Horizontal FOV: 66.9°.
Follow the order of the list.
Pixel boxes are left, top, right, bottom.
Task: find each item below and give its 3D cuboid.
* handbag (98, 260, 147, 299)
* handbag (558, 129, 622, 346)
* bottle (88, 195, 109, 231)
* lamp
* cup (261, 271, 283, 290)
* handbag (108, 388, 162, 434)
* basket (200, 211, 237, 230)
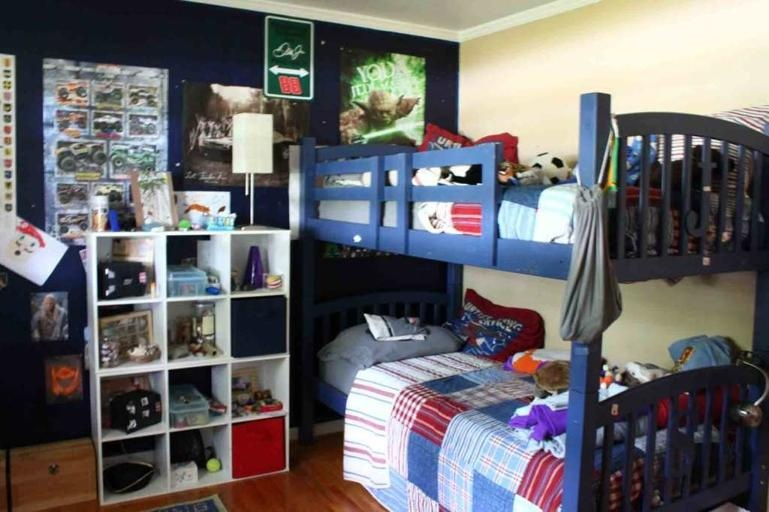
[{"bbox_3d":[-1.772,0.145,3.843,0.202,0.224,0.327,10,7,26],"label":"handbag"},{"bbox_3d":[0.924,-0.078,2.609,0.266,0.942,0.201,-1,10,6],"label":"handbag"},{"bbox_3d":[-1.868,-0.281,3.788,0.112,0.218,0.178,-6,11,-25],"label":"bottle"},{"bbox_3d":[-0.960,-0.617,4.201,0.285,0.783,0.381,-4,10,-15],"label":"lamp"},{"bbox_3d":[-0.815,0.161,4.151,0.125,0.085,0.108,-2,-5,8],"label":"cup"},{"bbox_3d":[-1.743,1.051,3.922,0.354,0.214,0.368,-18,-12,39],"label":"handbag"},{"bbox_3d":[-1.178,-0.236,4.056,0.183,0.102,0.180,0,3,25],"label":"basket"}]
